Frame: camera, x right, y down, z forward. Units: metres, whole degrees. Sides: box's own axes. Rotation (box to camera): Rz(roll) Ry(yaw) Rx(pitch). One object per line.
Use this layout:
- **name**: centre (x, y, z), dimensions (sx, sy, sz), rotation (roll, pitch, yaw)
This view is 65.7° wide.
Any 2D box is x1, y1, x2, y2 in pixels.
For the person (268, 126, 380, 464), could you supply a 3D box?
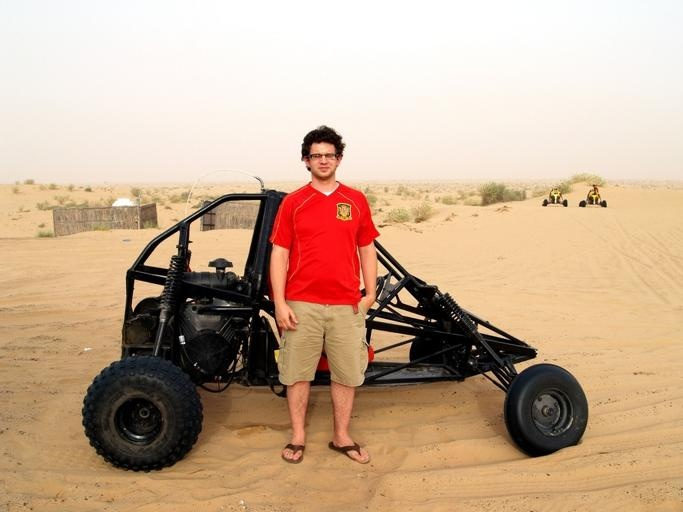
- **person**: centre (-0.176, 0.434, 5.240), dimensions (1.032, 3.390, 0.736), rotation (0, 16, 1)

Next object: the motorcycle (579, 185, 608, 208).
- **motorcycle**: centre (11.251, -2.610, 23.755), dimensions (1.449, 0.610, 2.245), rotation (0, 4, 14)

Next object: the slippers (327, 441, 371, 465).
- **slippers**: centre (0.084, 2.042, 5.510), dimensions (0.415, 0.081, 0.183), rotation (8, 10, 31)
